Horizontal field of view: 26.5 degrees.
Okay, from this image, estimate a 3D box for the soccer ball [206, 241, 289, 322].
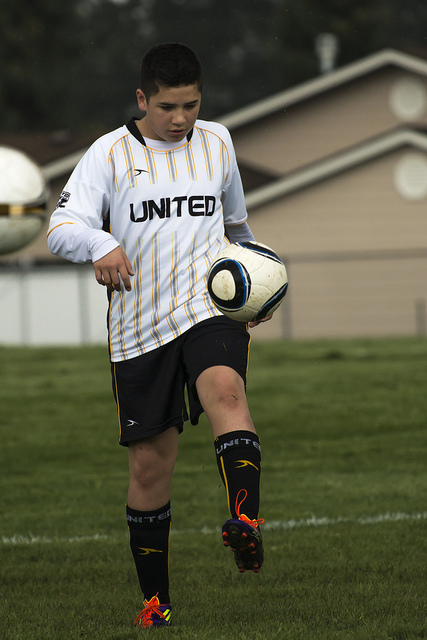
[{"bbox_3d":[0.077,-0.134,2.654,0.231,0.223,0.255,-6,20,-22],"label":"soccer ball"}]
